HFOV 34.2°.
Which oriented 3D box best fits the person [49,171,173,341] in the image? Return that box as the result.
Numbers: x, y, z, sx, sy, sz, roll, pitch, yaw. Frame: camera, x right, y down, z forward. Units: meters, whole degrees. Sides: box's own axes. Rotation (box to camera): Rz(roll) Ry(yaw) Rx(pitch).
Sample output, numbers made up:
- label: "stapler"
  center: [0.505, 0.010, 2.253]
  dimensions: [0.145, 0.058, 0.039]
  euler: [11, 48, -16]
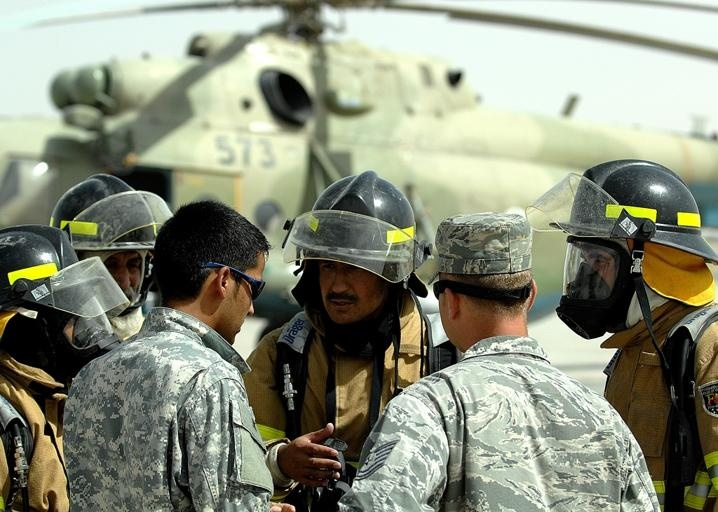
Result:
- label: "person"
  center: [-1.611, -0.018, 8.050]
  dimensions: [0.866, 1.108, 1.079]
  euler: [2, 2, -31]

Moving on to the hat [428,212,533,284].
- label: "hat"
  center: [0.643, -0.048, 6.115]
  dimensions: [0.414, 0.278, 0.316]
  euler: [-3, -1, 32]
